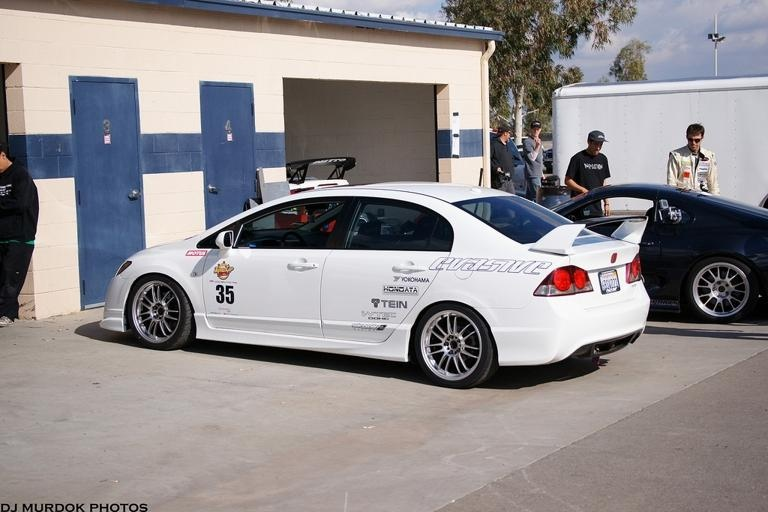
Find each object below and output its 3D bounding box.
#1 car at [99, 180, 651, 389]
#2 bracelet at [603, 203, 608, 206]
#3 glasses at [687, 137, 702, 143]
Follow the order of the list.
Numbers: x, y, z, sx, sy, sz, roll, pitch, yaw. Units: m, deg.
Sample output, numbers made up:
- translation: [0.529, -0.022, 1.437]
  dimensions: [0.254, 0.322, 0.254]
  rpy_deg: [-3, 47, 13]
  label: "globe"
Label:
- translation: [-0.351, 0.151, 7.551]
  dimensions: [5.503, 1.705, 2.513]
  rpy_deg: [4, 5, 25]
  label: "car"
- translation: [3.591, -0.828, 10.099]
  dimensions: [0.052, 0.052, 0.015]
  rpy_deg: [17, -29, 13]
  label: "bracelet"
- translation: [5.320, -1.986, 10.671]
  dimensions: [0.215, 0.088, 0.224]
  rpy_deg: [0, 9, 6]
  label: "glasses"
